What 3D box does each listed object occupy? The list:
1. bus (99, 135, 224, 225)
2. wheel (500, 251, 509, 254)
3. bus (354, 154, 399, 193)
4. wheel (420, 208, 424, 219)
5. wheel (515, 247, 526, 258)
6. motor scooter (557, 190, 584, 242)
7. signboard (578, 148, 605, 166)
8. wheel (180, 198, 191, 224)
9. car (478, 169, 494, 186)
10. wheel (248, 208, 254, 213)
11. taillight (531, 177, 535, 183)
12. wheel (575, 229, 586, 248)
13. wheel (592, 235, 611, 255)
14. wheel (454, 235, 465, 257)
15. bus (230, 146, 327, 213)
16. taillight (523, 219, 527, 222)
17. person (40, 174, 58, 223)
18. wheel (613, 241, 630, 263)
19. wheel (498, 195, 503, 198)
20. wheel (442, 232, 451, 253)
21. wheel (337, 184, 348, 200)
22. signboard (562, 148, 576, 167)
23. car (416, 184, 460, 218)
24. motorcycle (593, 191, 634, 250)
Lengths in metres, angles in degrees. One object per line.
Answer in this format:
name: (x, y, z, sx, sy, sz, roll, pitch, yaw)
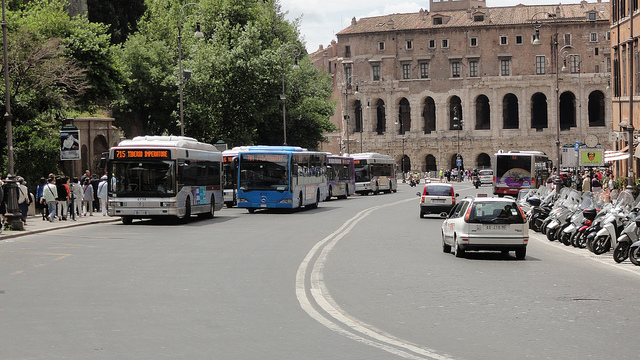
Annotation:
bus: (-9.101, -0.123, 57.437, 4.589, 4.784, 12.306, 0, -1, 8)
wheel: (8.489, 3.285, 42.989, 0.237, 0.120, 0.226, 0, -5, 0)
bus: (5.706, -0.650, 91.885, 2.617, 3.593, 13.120, 0, 1, 13)
wheel: (6.232, 2.035, 57.443, 0.231, 0.499, 0.490, 0, 1, 6)
wheel: (8.929, 3.228, 41.838, 0.571, 0.495, 0.370, -1, 1, -5)
motor scooter: (12.440, 1.781, 46.663, 1.514, 2.510, 1.034, -1, 0, 23)
signboard: (17.584, -1.499, 60.678, 1.438, 0.842, 0.172, -1, -5, 24)
wheel: (-7.691, 1.676, 53.309, 0.562, 1.406, 1.563, -1, -3, 6)
car: (20.206, -0.312, 114.505, 1.796, 1.206, 2.955, 0, 6, 9)
wheel: (-4.581, 1.981, 61.890, 0.333, 0.183, 0.317, -2, 1, 0)
taillight: (17.161, -0.002, 75.405, 0.309, 0.402, 0.166, -1, 1, -33)
wheel: (12.432, 2.773, 44.666, 0.209, 0.910, 1.012, 17, 9, 43)
wheel: (12.838, 2.906, 42.815, 1.093, 0.892, 0.204, 3, -6, -11)
wheel: (6.213, 2.898, 41.645, 0.400, 0.914, 1.013, 1, 4, -1)
bus: (-2.536, -0.085, 65.117, 4.588, 3.879, 11.419, 1, 2, 11)
taillight: (9.083, 1.792, 41.632, 0.156, 0.112, 0.048, -1, 1, -43)
person: (-15.498, 1.069, 53.520, 0.911, 2.561, 1.271, -1, 1, -15)
wheel: (13.258, 3.140, 41.193, 0.660, 0.943, 0.512, 0, 1, 17)
wheel: (13.169, 1.153, 68.421, 0.282, 0.056, 0.266, 0, 3, 0)
wheel: (5.791, 2.804, 42.776, 0.371, 0.928, 1.029, 2, 3, -1)
wheel: (1.946, 1.039, 81.545, 0.310, 1.000, 1.189, -1, 3, -16)
signboard: (17.826, -1.660, 67.114, 0.895, 1.273, 2.394, 0, 1, 13)
car: (7.690, 1.114, 59.491, 2.795, 1.844, 4.353, -1, 6, 11)
motorcycle: (13.567, 1.945, 43.153, 1.976, 3.020, 1.391, -3, 0, 41)
